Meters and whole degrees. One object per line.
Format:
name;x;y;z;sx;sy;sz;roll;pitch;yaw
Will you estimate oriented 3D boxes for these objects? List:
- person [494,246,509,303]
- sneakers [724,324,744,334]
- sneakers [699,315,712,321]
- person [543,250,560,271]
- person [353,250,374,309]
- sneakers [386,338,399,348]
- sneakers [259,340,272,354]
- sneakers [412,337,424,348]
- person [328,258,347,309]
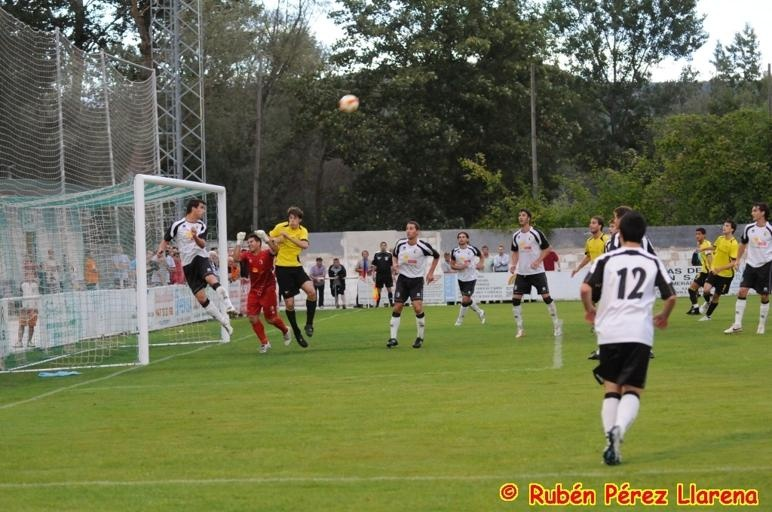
person;4.365;0.658;39.867;0.634;1.972;1.499;-1;2;6
sneakers;8.642;1.835;26.471;0.559;0.220;0.195;-1;-1;-1
sneakers;8.986;1.762;29.933;0.410;0.176;0.152;-2;-3;40
person;5.465;0.202;35.038;0.614;0.707;0.271;16;41;27
person;-0.803;0.874;39.933;0.641;2.063;0.919;-2;2;-2
sneakers;0.185;2.103;25.730;0.296;0.189;0.148;1;-4;3
sneakers;-2.940;2.234;26.047;0.229;0.263;0.626;-2;-8;6
sneakers;0.800;2.114;25.928;0.213;0.245;0.578;0;-5;10
person;-1.790;1.032;39.874;0.622;1.834;1.363;-2;2;-2
